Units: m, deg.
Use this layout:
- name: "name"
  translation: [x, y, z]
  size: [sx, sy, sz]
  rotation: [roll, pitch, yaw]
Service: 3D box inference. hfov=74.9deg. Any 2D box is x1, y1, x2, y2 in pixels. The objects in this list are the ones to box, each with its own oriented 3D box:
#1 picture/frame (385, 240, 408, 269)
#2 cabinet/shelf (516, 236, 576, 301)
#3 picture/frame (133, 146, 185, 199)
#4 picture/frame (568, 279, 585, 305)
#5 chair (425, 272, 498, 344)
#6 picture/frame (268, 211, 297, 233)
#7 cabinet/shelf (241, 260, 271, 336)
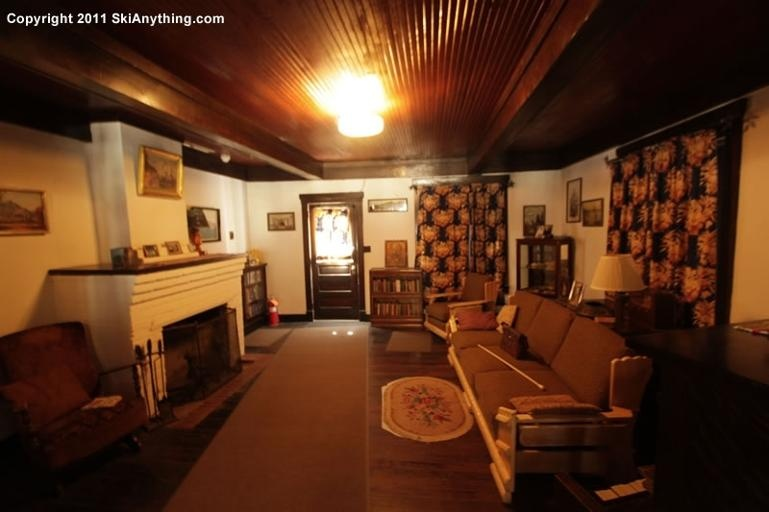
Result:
- name: "picture/frame"
  translation: [0.204, -0.019, 8.213]
  size: [0.486, 0.548, 0.059]
  rotation: [0, 0, 1]
- name: "cabinet/shelf"
  translation: [2.243, 0.172, 6.879]
  size: [0.479, 1.315, 0.842]
  rotation: [2, -3, -25]
- name: "picture/frame"
  translation: [-2.553, -0.930, 5.738]
  size: [0.063, 0.545, 0.621]
  rotation: [0, 0, 21]
- name: "picture/frame"
  translation: [2.418, 0.475, 6.313]
  size: [0.038, 0.353, 0.281]
  rotation: [12, 4, -8]
- name: "chair"
  translation: [1.072, 0.743, 7.555]
  size: [1.091, 1.040, 0.919]
  rotation: [-1, 4, -17]
- name: "picture/frame"
  translation: [-1.673, -0.560, 8.287]
  size: [0.372, 0.255, 0.014]
  rotation: [0, 2, -2]
- name: "cabinet/shelf"
  translation: [-2.033, 0.701, 7.888]
  size: [0.404, 1.027, 1.135]
  rotation: [0, 2, 5]
